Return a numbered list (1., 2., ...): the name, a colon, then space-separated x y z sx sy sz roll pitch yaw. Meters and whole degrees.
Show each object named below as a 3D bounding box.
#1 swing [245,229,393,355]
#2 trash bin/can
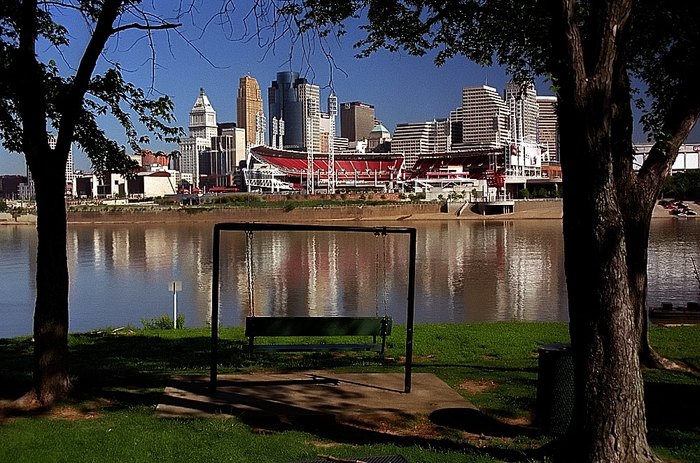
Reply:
1. swing: -0.627 1.349 14.018 2.475 2.036 0.913 1 11 -4
2. trash bin/can: 3.454 2.455 12.878 0.888 1.150 0.824 -1 -1 28
